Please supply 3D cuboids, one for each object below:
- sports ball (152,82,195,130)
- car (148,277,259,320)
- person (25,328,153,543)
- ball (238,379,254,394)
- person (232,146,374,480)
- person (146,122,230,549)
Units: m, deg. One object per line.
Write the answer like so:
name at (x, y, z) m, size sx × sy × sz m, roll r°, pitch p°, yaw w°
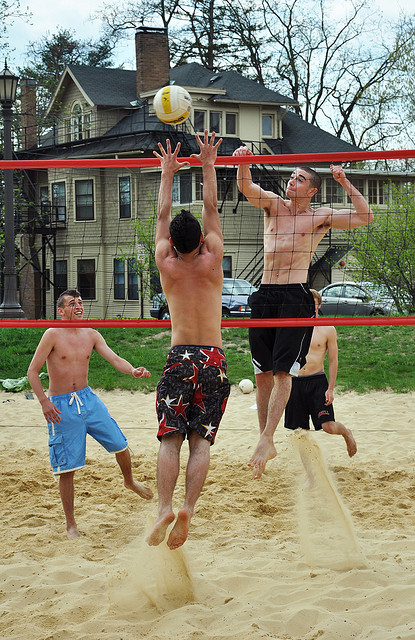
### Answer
sports ball at (-0.227, -1.333, 4.756) m, size 0.312 × 0.333 × 0.295 m, roll -3°, pitch -27°, yaw -2°
car at (-0.188, -0.484, 16.518) m, size 2.324 × 0.946 × 1.106 m, roll -2°, pitch 1°, yaw 6°
person at (-0.757, 0.699, 4.770) m, size 0.709 × 1.312 × 0.439 m, roll -2°, pitch 6°, yaw -14°
ball at (0.502, 0.861, 9.828) m, size 0.189 × 0.172 × 0.290 m, roll -1°, pitch 5°, yaw 4°
person at (0.576, -0.005, 4.834) m, size 0.814 × 2.297 × 1.139 m, roll -1°, pitch 6°, yaw 5°
person at (-0.095, 0.028, 3.807) m, size 0.391 × 2.063 × 0.887 m, roll -1°, pitch 6°, yaw 1°
